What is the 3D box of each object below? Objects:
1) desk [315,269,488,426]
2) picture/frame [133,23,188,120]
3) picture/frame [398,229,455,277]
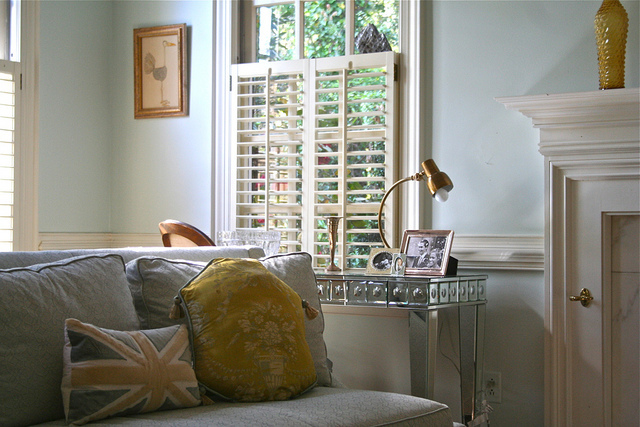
[{"bbox_3d":[0.406,0.691,2.864,0.533,0.780,0.920,0,-1,-44],"label":"desk"},{"bbox_3d":[-1.237,-1.105,4.233,0.512,0.649,0.042,2,0,22],"label":"picture/frame"},{"bbox_3d":[0.618,0.232,3.159,0.257,0.255,0.038,2,-25,26],"label":"picture/frame"}]
